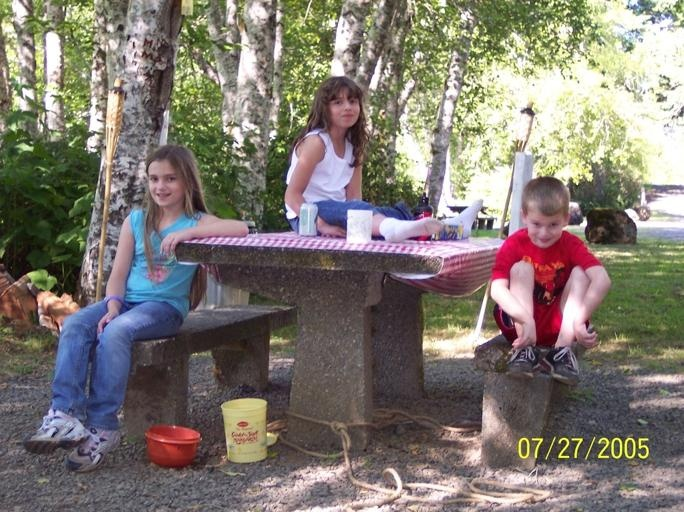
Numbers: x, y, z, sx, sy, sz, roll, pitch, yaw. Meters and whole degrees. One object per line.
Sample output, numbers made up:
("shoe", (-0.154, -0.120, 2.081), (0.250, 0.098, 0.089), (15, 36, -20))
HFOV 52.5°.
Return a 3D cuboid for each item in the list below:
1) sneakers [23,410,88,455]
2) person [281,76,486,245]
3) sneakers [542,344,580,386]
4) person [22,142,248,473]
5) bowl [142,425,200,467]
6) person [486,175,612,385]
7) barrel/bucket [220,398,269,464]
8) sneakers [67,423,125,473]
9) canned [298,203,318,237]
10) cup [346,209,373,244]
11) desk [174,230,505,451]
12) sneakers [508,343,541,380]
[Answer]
("sneakers", (-1.610, 1.012, 3.923), (0.300, 0.110, 0.220), (-15, 43, -27))
("person", (0.388, -0.653, 4.590), (1.334, 1.224, 0.930), (0, 5, 28))
("sneakers", (1.226, 0.608, 3.891), (0.180, 0.197, 0.204), (3, 11, 15))
("person", (-1.278, 0.261, 4.184), (1.175, 1.816, 0.659), (-5, 11, -25))
("bowl", (-0.986, 1.100, 4.017), (0.230, 0.149, 0.245), (5, 0, 0))
("person", (1.206, 0.107, 4.109), (0.592, 1.187, 1.186), (1, 1, 8))
("barrel/bucket", (-0.579, 1.049, 4.204), (0.272, 0.332, 0.283), (-4, 4, 0))
("sneakers", (-1.439, 1.112, 4.014), (0.143, 0.201, 0.426), (4, 12, 13))
("canned", (-0.211, -0.257, 4.218), (0.132, 0.243, 0.135), (3, 38, -2))
("cup", (0.083, -0.167, 3.980), (0.156, 0.198, 0.166), (0, 0, 0))
("desk", (-0.042, 0.385, 4.249), (1.295, 0.972, 1.893), (2, 1, 21))
("sneakers", (1.033, 0.604, 3.951), (0.175, 0.177, 0.208), (3, 11, 16))
